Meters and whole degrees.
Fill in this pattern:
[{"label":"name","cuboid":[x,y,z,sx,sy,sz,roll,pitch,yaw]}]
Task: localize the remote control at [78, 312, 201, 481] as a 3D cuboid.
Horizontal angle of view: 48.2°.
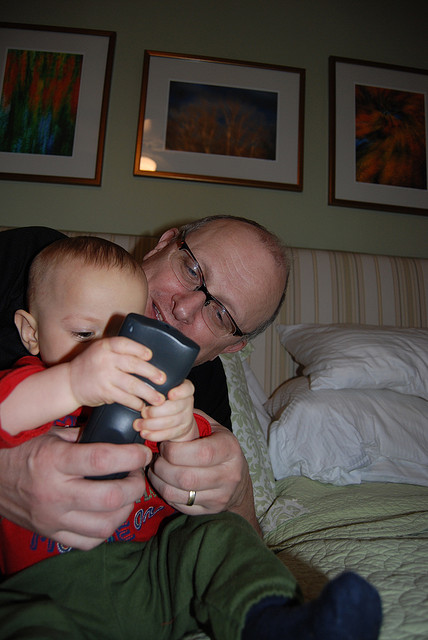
[{"label":"remote control","cuboid":[-0.084,0.096,0.543,0.139,0.210,0.072,11,8,43]}]
